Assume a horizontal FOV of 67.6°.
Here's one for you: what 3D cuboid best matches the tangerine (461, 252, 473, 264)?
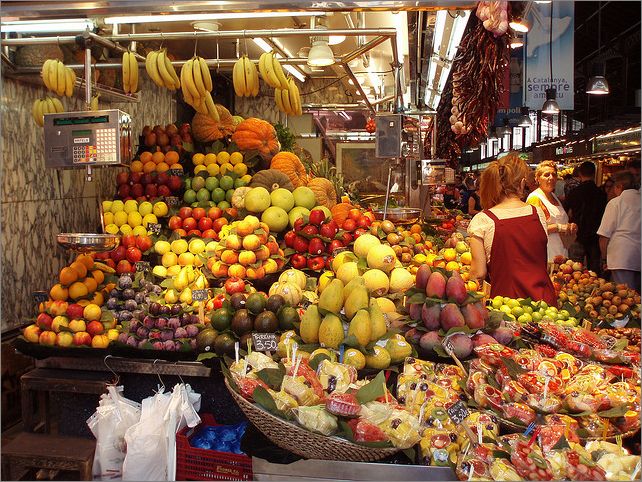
[{"bbox_3d":[1.239,0.147,4.090,0.074,0.080,0.078,19,12,-4],"label":"tangerine"}]

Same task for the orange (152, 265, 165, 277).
[{"bbox_3d":[-1.371,0.254,4.057,0.088,0.101,0.091,1,3,-3],"label":"orange"}]

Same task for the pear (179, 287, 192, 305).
[{"bbox_3d":[-1.029,0.419,3.673,0.094,0.149,0.100,4,-19,-1],"label":"pear"}]

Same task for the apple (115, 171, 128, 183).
[{"bbox_3d":[-2.020,-0.641,4.863,0.105,0.141,0.106,-1,6,-31],"label":"apple"}]

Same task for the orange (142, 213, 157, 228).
[{"bbox_3d":[-1.616,-0.207,4.572,0.112,0.147,0.121,-5,-25,0],"label":"orange"}]

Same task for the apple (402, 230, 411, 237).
[{"bbox_3d":[0.773,-0.072,4.393,0.062,0.052,0.070,0,3,16],"label":"apple"}]

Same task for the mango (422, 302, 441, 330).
[{"bbox_3d":[0.613,0.413,2.654,0.092,0.140,0.102,0,-20,-7],"label":"mango"}]

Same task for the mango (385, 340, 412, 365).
[{"bbox_3d":[0.419,0.595,2.597,0.099,0.115,0.139,-12,-19,31],"label":"mango"}]

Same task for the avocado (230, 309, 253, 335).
[{"bbox_3d":[-0.491,0.499,2.958,0.128,0.172,0.126,8,-14,-39],"label":"avocado"}]

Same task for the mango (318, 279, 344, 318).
[{"bbox_3d":[0.076,0.313,2.758,0.128,0.224,0.132,12,6,29],"label":"mango"}]

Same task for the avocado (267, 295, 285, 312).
[{"bbox_3d":[-0.284,0.388,3.033,0.094,0.103,0.123,-4,-41,-4],"label":"avocado"}]

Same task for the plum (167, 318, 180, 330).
[{"bbox_3d":[-1.003,0.553,3.259,0.066,0.083,0.069,-33,3,-21],"label":"plum"}]

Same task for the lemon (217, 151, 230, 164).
[{"bbox_3d":[-1.016,-0.869,4.980,0.130,0.133,0.119,-1,6,-14],"label":"lemon"}]

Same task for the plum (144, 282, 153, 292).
[{"bbox_3d":[-1.371,0.351,3.816,0.033,0.064,0.061,-33,-46,25],"label":"plum"}]

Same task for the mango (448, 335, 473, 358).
[{"bbox_3d":[0.731,0.541,2.568,0.123,0.099,0.093,38,-18,-3],"label":"mango"}]

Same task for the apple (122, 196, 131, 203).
[{"bbox_3d":[-1.916,-0.411,4.720,0.070,0.044,0.075,-4,7,-3],"label":"apple"}]

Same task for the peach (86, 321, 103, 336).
[{"bbox_3d":[-1.576,0.607,3.335,0.090,0.098,0.092,-8,34,-34],"label":"peach"}]

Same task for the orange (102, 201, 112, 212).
[{"bbox_3d":[-2.093,-0.338,4.695,0.096,0.131,0.104,2,4,13],"label":"orange"}]

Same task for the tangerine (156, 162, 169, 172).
[{"bbox_3d":[-1.623,-0.747,4.913,0.106,0.097,0.090,-29,7,-30],"label":"tangerine"}]

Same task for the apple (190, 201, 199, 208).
[{"bbox_3d":[-1.208,-0.346,4.575,0.057,0.061,0.068,23,-6,-31],"label":"apple"}]

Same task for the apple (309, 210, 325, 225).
[{"bbox_3d":[-0.038,-0.208,4.159,0.110,0.149,0.118,2,5,18],"label":"apple"}]

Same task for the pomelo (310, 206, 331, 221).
[{"bbox_3d":[0.020,-0.269,4.248,0.120,0.134,0.129,-3,-25,2],"label":"pomelo"}]

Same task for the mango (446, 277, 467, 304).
[{"bbox_3d":[0.739,0.265,2.666,0.081,0.145,0.094,-24,6,-7],"label":"mango"}]

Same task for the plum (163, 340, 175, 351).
[{"bbox_3d":[-1.012,0.699,3.187,0.067,0.061,0.058,15,-30,-17],"label":"plum"}]

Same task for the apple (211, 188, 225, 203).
[{"bbox_3d":[-0.996,-0.444,4.655,0.118,0.155,0.126,3,12,-4],"label":"apple"}]

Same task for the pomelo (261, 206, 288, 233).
[{"bbox_3d":[-0.426,-0.172,4.352,0.207,0.223,0.214,30,-13,-3],"label":"pomelo"}]

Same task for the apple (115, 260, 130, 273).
[{"bbox_3d":[-1.690,0.224,4.138,0.096,0.125,0.097,4,-10,32],"label":"apple"}]

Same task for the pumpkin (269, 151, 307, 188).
[{"bbox_3d":[-0.328,-0.712,5.291,0.232,0.424,0.435,-9,-26,8],"label":"pumpkin"}]

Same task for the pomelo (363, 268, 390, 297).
[{"bbox_3d":[0.385,0.293,3.371,0.154,0.186,0.285,4,8,34],"label":"pomelo"}]

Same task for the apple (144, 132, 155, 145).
[{"bbox_3d":[-1.819,-1.079,5.099,0.108,0.145,0.111,0,-4,5],"label":"apple"}]

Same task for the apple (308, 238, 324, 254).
[{"bbox_3d":[-0.042,0.045,4.007,0.121,0.164,0.127,4,-8,-1],"label":"apple"}]

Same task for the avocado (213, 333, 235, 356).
[{"bbox_3d":[-0.599,0.648,3.044,0.117,0.161,0.130,-1,0,6],"label":"avocado"}]

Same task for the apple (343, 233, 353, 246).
[{"bbox_3d":[0.223,-0.021,4.116,0.089,0.093,0.096,0,42,-8],"label":"apple"}]

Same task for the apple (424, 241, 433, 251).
[{"bbox_3d":[1.056,0.048,4.695,0.079,0.048,0.085,0,11,13],"label":"apple"}]

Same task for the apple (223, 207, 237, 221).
[{"bbox_3d":[-0.852,-0.249,4.494,0.104,0.112,0.112,5,28,-14],"label":"apple"}]

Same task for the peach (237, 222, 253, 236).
[{"bbox_3d":[-0.629,-0.100,3.913,0.102,0.115,0.124,-22,-40,19],"label":"peach"}]

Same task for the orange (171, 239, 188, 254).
[{"bbox_3d":[-1.238,0.047,4.198,0.111,0.119,0.119,0,4,9],"label":"orange"}]

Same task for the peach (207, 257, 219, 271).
[{"bbox_3d":[-0.897,0.185,3.924,0.086,0.118,0.092,2,1,2],"label":"peach"}]

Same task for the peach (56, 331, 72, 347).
[{"bbox_3d":[-1.778,0.666,3.327,0.082,0.113,0.088,0,0,15],"label":"peach"}]

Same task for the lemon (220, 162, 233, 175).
[{"bbox_3d":[-0.962,-0.734,4.902,0.107,0.123,0.134,-1,9,10],"label":"lemon"}]

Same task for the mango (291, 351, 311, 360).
[{"bbox_3d":[-0.104,0.595,2.515,0.083,0.066,0.111,0,-7,0],"label":"mango"}]

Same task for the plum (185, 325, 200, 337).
[{"bbox_3d":[-0.864,0.601,3.229,0.073,0.085,0.069,-3,15,-37],"label":"plum"}]

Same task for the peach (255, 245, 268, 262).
[{"bbox_3d":[-0.478,0.098,3.930,0.104,0.115,0.109,-4,3,1],"label":"peach"}]

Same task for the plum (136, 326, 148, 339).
[{"bbox_3d":[-1.227,0.626,3.293,0.067,0.088,0.069,17,14,8],"label":"plum"}]

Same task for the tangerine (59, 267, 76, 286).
[{"bbox_3d":[-1.905,0.267,3.602,0.121,0.139,0.065,1,6,8],"label":"tangerine"}]

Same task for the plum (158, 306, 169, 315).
[{"bbox_3d":[-1.082,0.479,3.313,0.050,0.068,0.054,-3,-18,4],"label":"plum"}]

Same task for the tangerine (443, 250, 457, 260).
[{"bbox_3d":[1.138,0.122,4.242,0.085,0.096,0.092,-6,36,-2],"label":"tangerine"}]

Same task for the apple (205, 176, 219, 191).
[{"bbox_3d":[-1.072,-0.559,4.756,0.111,0.145,0.121,5,42,14],"label":"apple"}]

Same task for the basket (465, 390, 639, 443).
[{"bbox_3d":[1.048,0.798,2.161,0.738,0.148,0.223,2,7,15],"label":"basket"}]

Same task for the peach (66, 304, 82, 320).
[{"bbox_3d":[-1.755,0.504,3.412,0.099,0.101,0.098,26,0,-28],"label":"peach"}]

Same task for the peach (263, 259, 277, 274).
[{"bbox_3d":[-0.425,0.192,3.974,0.100,0.115,0.105,-11,21,-38],"label":"peach"}]

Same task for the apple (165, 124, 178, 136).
[{"bbox_3d":[-1.624,-1.213,5.211,0.108,0.122,0.115,1,-6,-6],"label":"apple"}]

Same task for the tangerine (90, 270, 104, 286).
[{"bbox_3d":[-1.750,0.289,3.765,0.085,0.113,0.091,-3,1,4],"label":"tangerine"}]

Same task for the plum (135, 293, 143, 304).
[{"bbox_3d":[-1.374,0.428,3.619,0.059,0.081,0.062,2,5,6],"label":"plum"}]

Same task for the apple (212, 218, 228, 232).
[{"bbox_3d":[-0.933,-0.177,4.467,0.113,0.149,0.118,25,9,10],"label":"apple"}]
